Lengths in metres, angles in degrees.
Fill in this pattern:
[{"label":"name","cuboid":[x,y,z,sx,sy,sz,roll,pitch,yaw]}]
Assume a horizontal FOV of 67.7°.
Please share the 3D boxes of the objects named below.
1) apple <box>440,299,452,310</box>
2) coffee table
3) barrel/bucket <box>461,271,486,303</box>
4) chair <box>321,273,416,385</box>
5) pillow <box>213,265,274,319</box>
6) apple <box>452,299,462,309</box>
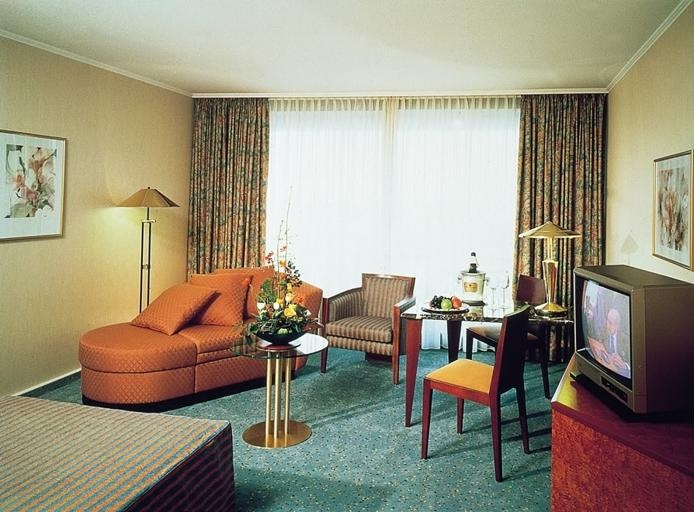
[{"label":"apple","cuboid":[0.838,0.411,4.363,0.072,0.089,0.075,0,-6,1]},{"label":"coffee table","cuboid":[-0.530,1.055,4.231,0.717,0.706,0.762,0,7,-5]},{"label":"barrel/bucket","cuboid":[1.158,0.281,4.767,0.234,0.286,0.253,1,-1,0]},{"label":"chair","cuboid":[0.270,0.735,5.706,0.878,1.258,1.055,1,1,22]},{"label":"pillow","cuboid":[-1.093,0.373,5.477,0.500,0.170,0.556,2,35,8]},{"label":"apple","cuboid":[0.918,0.393,4.353,0.075,0.085,0.075,7,11,-11]}]
